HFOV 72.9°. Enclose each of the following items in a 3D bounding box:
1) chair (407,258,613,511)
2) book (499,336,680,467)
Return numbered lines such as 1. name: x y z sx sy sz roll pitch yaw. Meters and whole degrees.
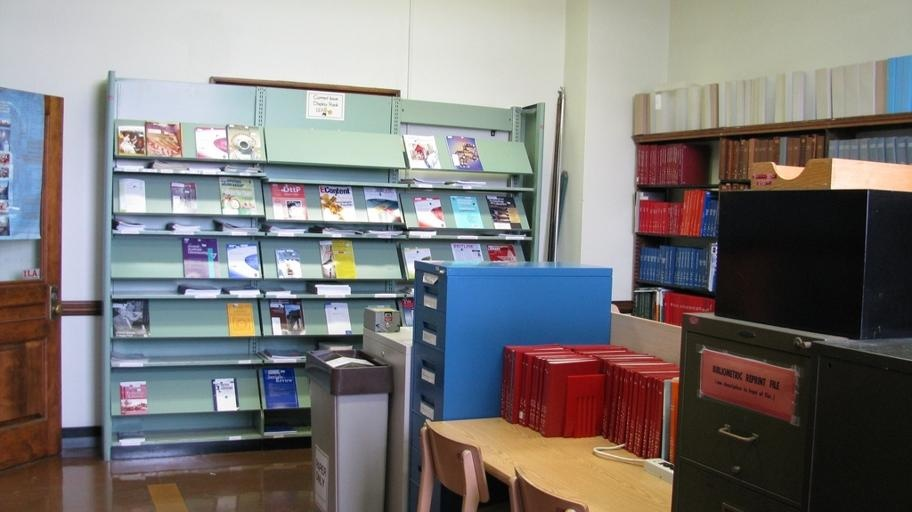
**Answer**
1. chair: 0.294 0.682 5.401 1.944 2.484 1.368 1 1 -15
2. book: 0.777 0.864 3.732 0.760 0.280 0.688 -1 7 -21
